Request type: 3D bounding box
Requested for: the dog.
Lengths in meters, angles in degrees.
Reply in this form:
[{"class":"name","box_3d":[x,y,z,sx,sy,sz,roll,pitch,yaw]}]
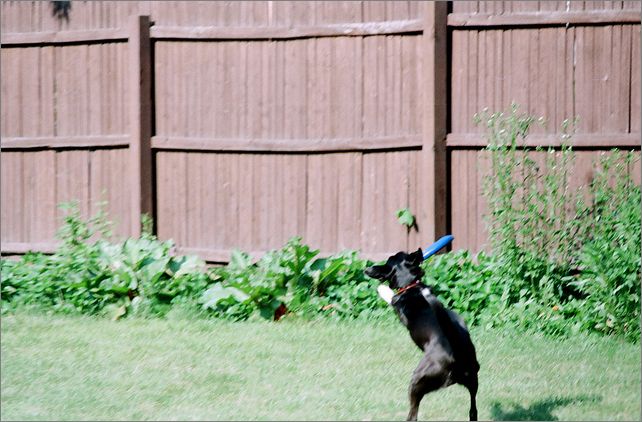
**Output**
[{"class":"dog","box_3d":[0.986,1.212,9.385,0.669,2.040,1.040,-5,-37,-19]}]
